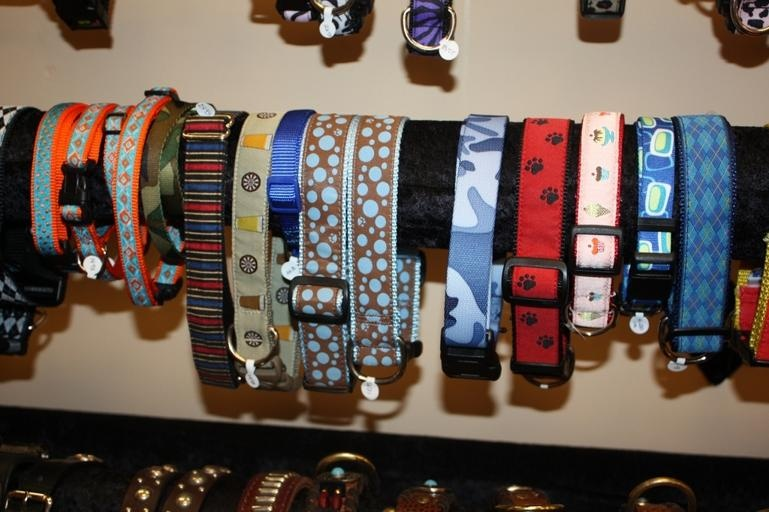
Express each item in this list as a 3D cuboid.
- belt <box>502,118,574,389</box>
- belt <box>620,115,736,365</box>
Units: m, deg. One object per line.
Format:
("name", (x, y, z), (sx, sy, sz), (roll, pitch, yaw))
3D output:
("belt", (0.335, -0.025, 1.616), (0.123, 0.451, 0.404), (1, 35, 11))
("belt", (0.636, -0.031, 1.583), (0.122, 0.432, 0.314), (3, 10, 7))
